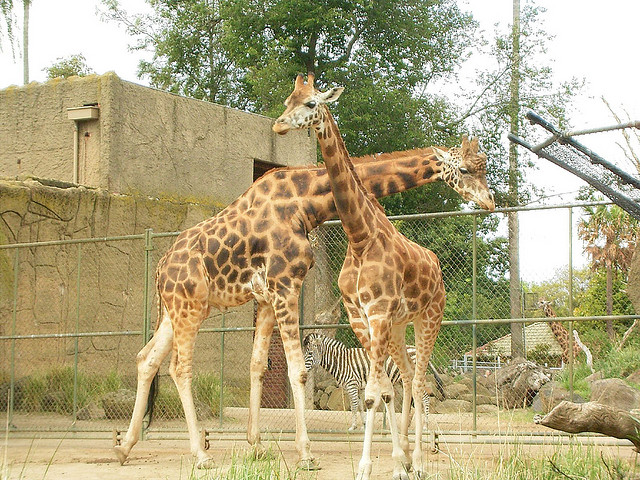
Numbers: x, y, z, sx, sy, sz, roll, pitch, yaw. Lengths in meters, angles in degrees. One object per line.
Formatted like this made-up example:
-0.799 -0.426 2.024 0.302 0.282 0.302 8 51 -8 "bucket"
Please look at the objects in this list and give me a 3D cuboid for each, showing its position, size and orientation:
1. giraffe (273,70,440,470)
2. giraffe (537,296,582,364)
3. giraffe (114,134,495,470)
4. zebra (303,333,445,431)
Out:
0.545 0.361 13.883 1.668 5.772 1.983 0 -3 10 "giraffe"
5.328 1.954 23.214 0.926 1.607 2.883 -3 -11 12 "giraffe"
-0.283 1.057 14.630 5.297 4.773 1.440 -1 0 5 "giraffe"
0.869 2.605 19.336 2.485 1.987 0.627 -5 -5 10 "zebra"
